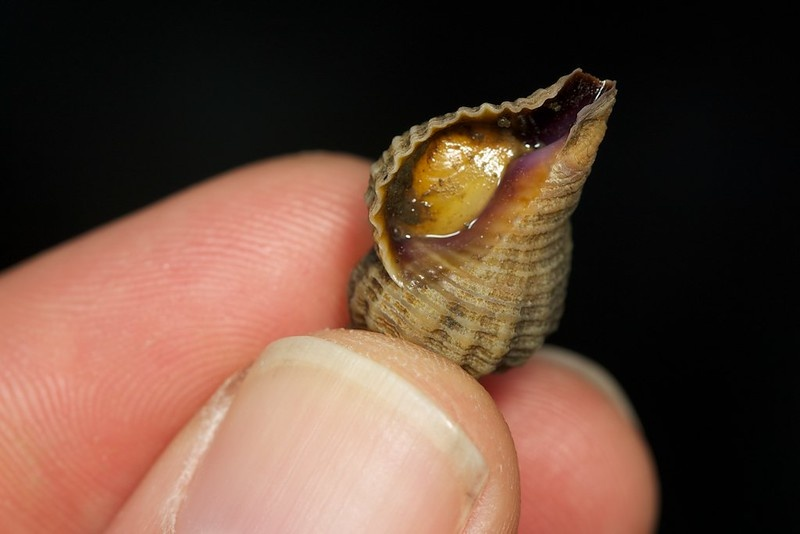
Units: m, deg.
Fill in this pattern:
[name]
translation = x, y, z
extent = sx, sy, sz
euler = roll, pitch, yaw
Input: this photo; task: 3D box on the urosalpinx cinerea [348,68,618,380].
[urosalpinx cinerea]
translation = 0.276, -0.275, 2.783
extent = 0.952, 1.112, 0.670
euler = 11, 24, 2
